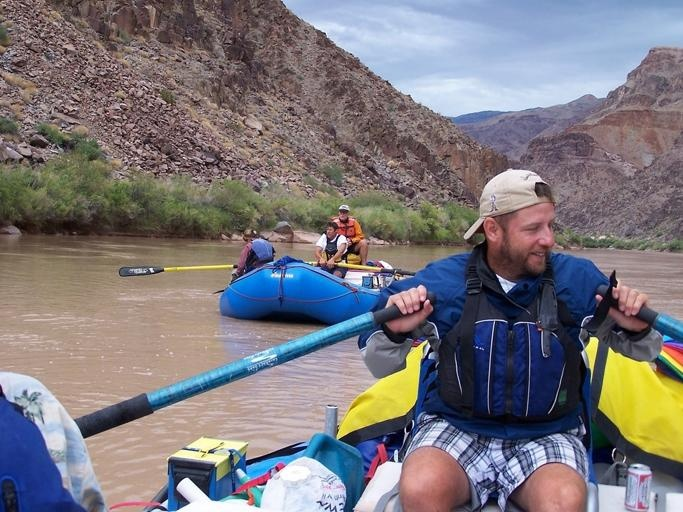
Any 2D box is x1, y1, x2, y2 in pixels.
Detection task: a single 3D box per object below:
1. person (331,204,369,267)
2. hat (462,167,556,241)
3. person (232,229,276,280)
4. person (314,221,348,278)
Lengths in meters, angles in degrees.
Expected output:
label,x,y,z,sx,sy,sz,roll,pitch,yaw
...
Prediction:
label,x,y,z,sx,sy,sz,roll,pitch,yaw
person,0.026,-0.380,12.826,0.888,1.239,0.795,-5,12,2
hat,0.784,-0.281,3.166,0.454,0.262,0.300,-16,-1,23
person,-1.492,0.060,10.698,0.624,0.930,0.897,-2,-7,-40
person,-0.278,-0.097,11.793,0.782,1.047,0.825,-2,13,0
